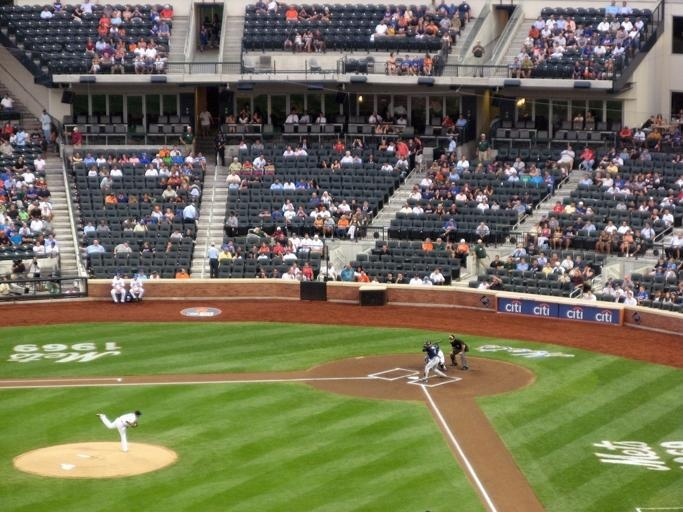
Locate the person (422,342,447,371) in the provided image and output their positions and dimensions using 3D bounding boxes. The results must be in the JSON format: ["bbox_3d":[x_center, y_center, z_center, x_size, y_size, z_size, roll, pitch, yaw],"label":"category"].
[{"bbox_3d":[3.422,3.746,49.730,0.807,1.454,1.419,1,10,3],"label":"person"}]
